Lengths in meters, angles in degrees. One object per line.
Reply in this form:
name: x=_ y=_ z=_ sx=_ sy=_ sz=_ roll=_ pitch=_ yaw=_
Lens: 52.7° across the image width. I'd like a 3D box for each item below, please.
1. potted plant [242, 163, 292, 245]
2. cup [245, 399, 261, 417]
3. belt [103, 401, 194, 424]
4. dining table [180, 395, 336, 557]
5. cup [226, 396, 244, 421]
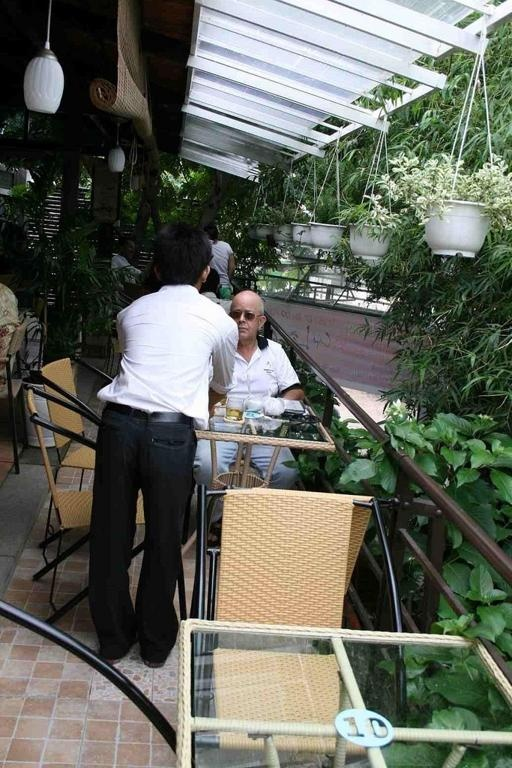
potted plant: x=0.264 y=-3.329 z=9.411 sx=0.431 sy=1.473 sz=1.157 roll=14 pitch=-10 yaw=-34
cup: x=-0.022 y=0.134 z=2.979 sx=0.085 sy=0.083 sz=0.081 roll=2 pitch=-16 yaw=1
belt: x=-0.399 y=0.115 z=1.941 sx=0.332 sy=0.039 sz=0.137 roll=7 pitch=-5 yaw=-12
dining table: x=-0.002 y=0.446 z=2.965 sx=0.915 sy=0.902 sz=0.927 roll=3 pitch=8 yaw=-2
cup: x=-0.129 y=0.142 z=2.898 sx=0.109 sy=0.118 sz=0.102 roll=1 pitch=3 yaw=0
